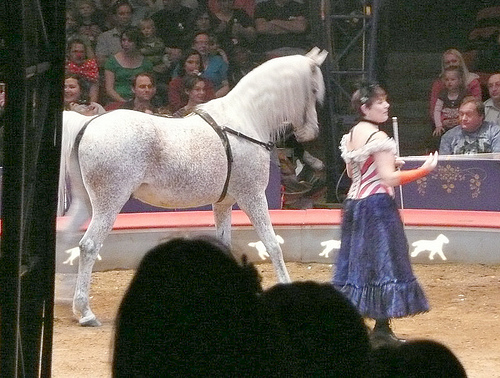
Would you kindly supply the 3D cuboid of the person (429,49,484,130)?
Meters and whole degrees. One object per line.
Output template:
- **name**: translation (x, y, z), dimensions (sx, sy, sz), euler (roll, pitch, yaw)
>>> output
- **person**: translation (2.237, -1.026, 12.620), dimensions (0.641, 0.741, 0.483), euler (-4, 14, 8)

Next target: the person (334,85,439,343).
- **person**: translation (0.993, 0.176, 8.875), dimensions (0.661, 1.838, 0.963), euler (-4, 19, -16)

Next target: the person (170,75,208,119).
- **person**: translation (-0.663, -0.949, 11.588), dimensions (0.251, 0.406, 0.859), euler (-6, 13, -26)

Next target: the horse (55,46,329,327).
- **horse**: translation (-0.591, -0.057, 9.808), dimensions (3.272, 1.970, 0.738), euler (-9, 11, -41)

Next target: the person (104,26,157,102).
- **person**: translation (-1.349, -1.361, 12.881), dimensions (0.653, 0.763, 0.575), euler (5, 7, 23)

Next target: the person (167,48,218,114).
- **person**: translation (-0.630, -1.141, 12.711), dimensions (0.666, 0.735, 0.513), euler (-7, 13, -32)
